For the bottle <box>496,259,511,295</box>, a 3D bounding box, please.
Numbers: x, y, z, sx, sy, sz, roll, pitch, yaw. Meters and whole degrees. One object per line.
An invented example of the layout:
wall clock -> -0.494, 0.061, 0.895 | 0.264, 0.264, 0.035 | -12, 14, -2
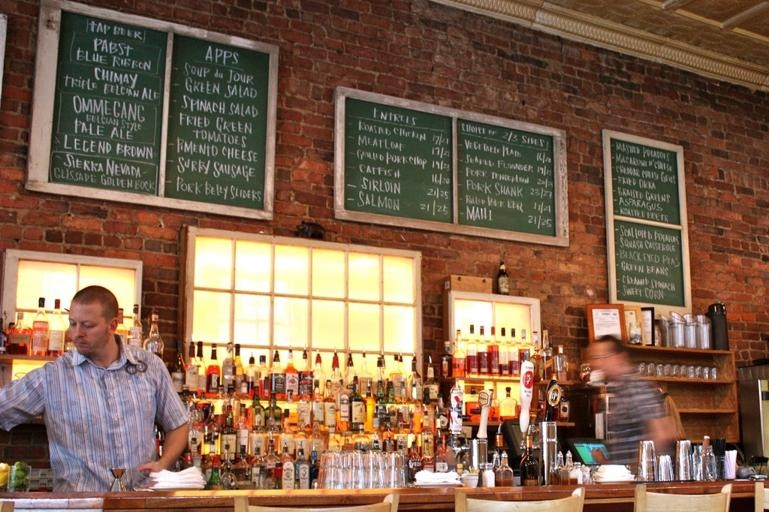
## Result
bottle -> 0.981, 0.183, 6.594 | 0.117, 0.304, 0.228 | -2, -11, 8

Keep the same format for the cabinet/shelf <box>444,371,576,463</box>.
cabinet/shelf -> 1.004, 1.304, 6.188 | 0.752, 0.658, 0.246 | -3, 2, 2

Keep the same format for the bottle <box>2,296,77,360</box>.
bottle -> -2.252, 0.478, 5.129 | 0.409, 0.399, 0.134 | 4, -13, -30

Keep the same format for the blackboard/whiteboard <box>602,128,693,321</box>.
blackboard/whiteboard -> 2.410, -0.327, 7.323 | 0.927, 1.660, 0.148 | 5, -12, -26

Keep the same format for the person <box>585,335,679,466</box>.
person -> 1.728, 1.050, 5.649 | 0.468, 1.197, 0.708 | 1, -14, 8

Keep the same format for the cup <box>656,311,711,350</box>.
cup -> 2.684, 0.670, 7.161 | 0.418, 0.305, 0.326 | -1, -8, 10

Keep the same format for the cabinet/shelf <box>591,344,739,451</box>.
cabinet/shelf -> 2.149, 1.099, 6.123 | 1.049, 0.626, 0.295 | 3, -13, -13
